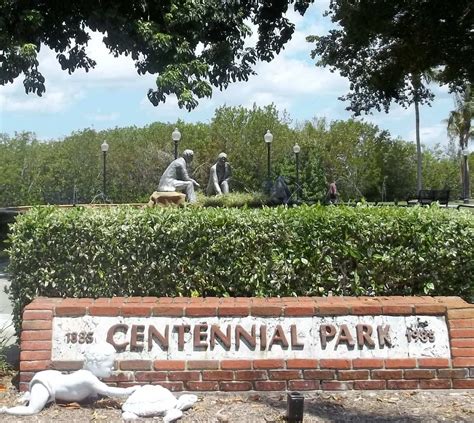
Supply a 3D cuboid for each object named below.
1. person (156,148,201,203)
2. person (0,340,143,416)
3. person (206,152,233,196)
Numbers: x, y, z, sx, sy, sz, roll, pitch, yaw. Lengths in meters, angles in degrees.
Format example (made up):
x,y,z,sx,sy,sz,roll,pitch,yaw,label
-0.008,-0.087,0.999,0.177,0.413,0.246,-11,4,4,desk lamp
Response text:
x,y,z,sx,sy,sz,roll,pitch,yaw,label
-1.539,-0.954,19.522,0.937,1.783,0.698,2,32,-7,person
-1.969,2.055,8.889,1.618,1.037,0.782,-1,-2,-7,person
-0.592,-1.272,23.636,0.793,1.538,2.089,-2,-3,-2,person
